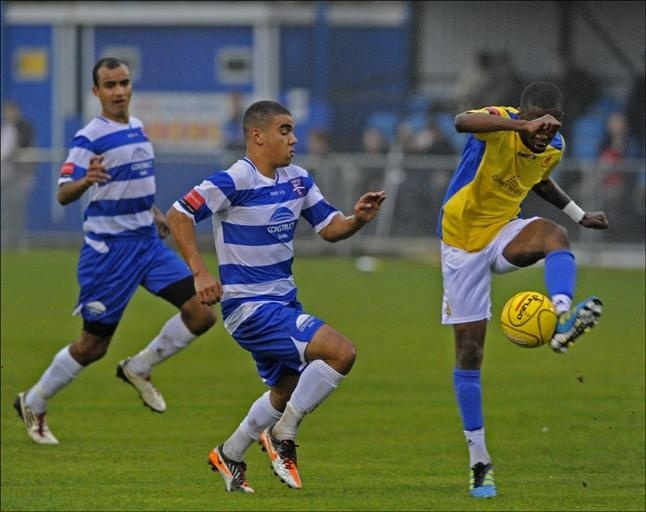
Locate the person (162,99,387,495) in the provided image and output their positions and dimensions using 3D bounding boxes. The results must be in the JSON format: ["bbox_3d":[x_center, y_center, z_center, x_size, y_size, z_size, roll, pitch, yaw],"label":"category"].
[{"bbox_3d":[-0.424,0.300,8.635,1.419,2.911,0.823,0,11,1],"label":"person"}]

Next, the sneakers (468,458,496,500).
[{"bbox_3d":[1.203,1.659,8.487,0.204,0.210,0.309,1,11,7],"label":"sneakers"}]
